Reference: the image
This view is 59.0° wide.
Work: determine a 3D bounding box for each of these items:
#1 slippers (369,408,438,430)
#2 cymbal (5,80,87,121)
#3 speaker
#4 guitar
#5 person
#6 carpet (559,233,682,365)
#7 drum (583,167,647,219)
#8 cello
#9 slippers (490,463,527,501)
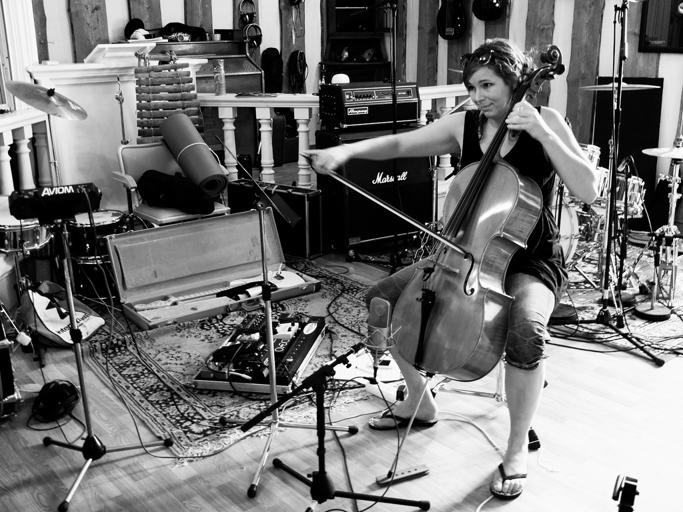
[{"bbox_3d":[0.280,0.754,2.794,0.318,0.075,0.128,3,3,-1],"label":"slippers"},{"bbox_3d":[-1.399,-0.741,2.859,0.282,0.177,0.281,11,21,36],"label":"cymbal"},{"bbox_3d":[0.219,-0.583,4.907,0.940,0.914,0.530,-14,19,-36],"label":"speaker"},{"bbox_3d":[-0.757,0.219,3.961,1.112,0.127,0.359,-5,10,-20],"label":"guitar"},{"bbox_3d":[0.490,0.000,2.579,0.970,1.787,0.887,13,19,39],"label":"person"},{"bbox_3d":[1.747,0.283,3.785,0.474,0.592,0.519,3,31,-2],"label":"carpet"},{"bbox_3d":[1.885,-0.423,4.423,0.492,0.308,0.449,7,-7,1],"label":"drum"},{"bbox_3d":[0.484,-0.013,2.308,0.575,0.933,0.409,-2,17,-1],"label":"cello"},{"bbox_3d":[0.671,0.900,2.444,0.115,0.067,0.272,10,10,25],"label":"slippers"}]
